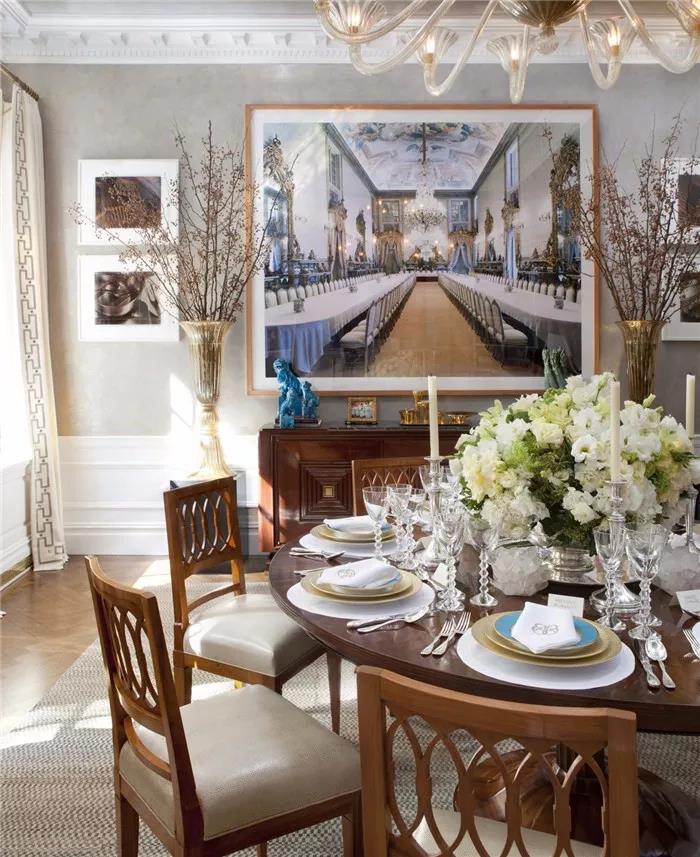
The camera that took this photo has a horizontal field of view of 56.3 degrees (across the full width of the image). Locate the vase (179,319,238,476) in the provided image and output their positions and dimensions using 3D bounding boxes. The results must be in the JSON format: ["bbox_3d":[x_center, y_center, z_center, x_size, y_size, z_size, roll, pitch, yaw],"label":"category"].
[{"bbox_3d":[-0.890,-0.180,4.092,0.313,0.964,0.257,-4,5,-15],"label":"vase"}]

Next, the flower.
[{"bbox_3d":[0.491,0.080,1.516,0.471,0.393,0.431,3,4,8],"label":"flower"}]

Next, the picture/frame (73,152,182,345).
[{"bbox_3d":[-1.489,-1.188,4.381,0.723,1.228,0.162,-2,5,11],"label":"picture/frame"}]

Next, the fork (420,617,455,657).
[{"bbox_3d":[0.161,0.383,1.232,0.025,0.026,0.184,-6,1,17],"label":"fork"}]

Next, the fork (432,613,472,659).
[{"bbox_3d":[0.199,0.385,1.240,0.029,0.024,0.215,-5,-1,25],"label":"fork"}]

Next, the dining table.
[{"bbox_3d":[0.216,0.606,1.439,0.753,0.475,0.792,-1,9,-5],"label":"dining table"}]

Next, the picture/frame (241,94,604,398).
[{"bbox_3d":[0.469,-1.286,4.353,2.263,1.605,0.074,0,1,-1],"label":"picture/frame"}]

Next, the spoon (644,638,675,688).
[{"bbox_3d":[0.515,0.389,1.089,0.028,0.018,0.140,-9,17,16],"label":"spoon"}]

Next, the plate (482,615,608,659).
[{"bbox_3d":[0.338,0.361,1.153,0.241,0.030,0.188,-2,5,13],"label":"plate"}]

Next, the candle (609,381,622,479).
[{"bbox_3d":[0.467,0.006,1.156,0.013,0.176,0.043,-1,5,27],"label":"candle"}]
